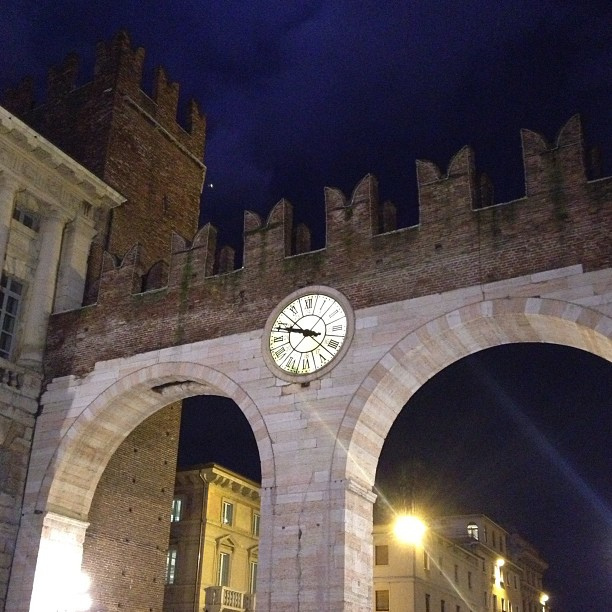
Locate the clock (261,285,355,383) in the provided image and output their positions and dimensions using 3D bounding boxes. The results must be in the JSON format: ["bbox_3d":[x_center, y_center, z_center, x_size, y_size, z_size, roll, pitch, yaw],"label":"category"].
[{"bbox_3d":[0.106,0.624,16.247,1.621,1.569,0.182,-39,-44,11],"label":"clock"}]
